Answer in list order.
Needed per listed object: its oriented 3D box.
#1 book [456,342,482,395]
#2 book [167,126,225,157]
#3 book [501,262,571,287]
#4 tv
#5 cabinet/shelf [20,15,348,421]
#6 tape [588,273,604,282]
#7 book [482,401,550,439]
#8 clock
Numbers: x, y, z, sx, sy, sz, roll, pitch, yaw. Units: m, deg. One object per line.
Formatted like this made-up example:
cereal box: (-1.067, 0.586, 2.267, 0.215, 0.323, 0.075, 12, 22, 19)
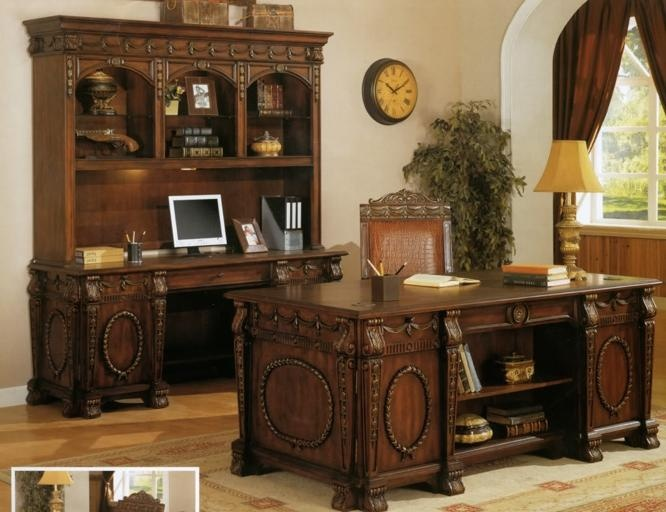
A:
book: (0.767, 0.622, 3.819, 0.056, 0.241, 0.238, -9, 20, 25)
book: (-1.163, -0.941, 5.784, 0.372, 0.224, 0.279, -3, 5, -39)
book: (1.232, 0.118, 4.192, 0.191, 0.083, 0.244, -7, 7, -43)
tv: (-1.217, -0.269, 6.006, 0.532, 0.522, 0.172, -5, -6, -36)
cabinet/shelf: (-1.349, -0.381, 5.777, 2.377, 3.074, 0.966, -5, 4, -35)
tape: (1.734, 0.141, 4.497, 0.083, 0.019, 0.077, 2, 11, 15)
book: (1.096, 0.932, 4.117, 0.265, 0.126, 0.198, -2, 2, -33)
clock: (0.617, -1.722, 7.148, 0.155, 0.639, 0.643, 9, -15, 47)
